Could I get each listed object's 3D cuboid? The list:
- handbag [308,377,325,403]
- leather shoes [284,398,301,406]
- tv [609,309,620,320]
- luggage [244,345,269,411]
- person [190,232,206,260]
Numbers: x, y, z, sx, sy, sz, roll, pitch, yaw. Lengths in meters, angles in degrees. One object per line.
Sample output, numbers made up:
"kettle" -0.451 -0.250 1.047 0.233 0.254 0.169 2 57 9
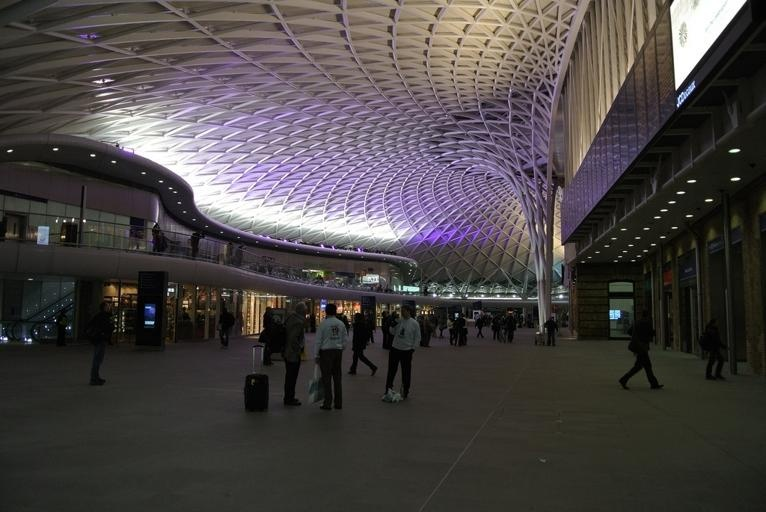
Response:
"handbag" -1.302 2.588 10.223 0.331 0.461 0.257 3 -5 -23
"leather shoes" -1.856 2.979 10.699 0.405 0.155 0.120 -1 2 -5
"tv" 16.247 3.987 36.560 0.782 0.666 0.106 -1 9 7
"luggage" -2.461 2.355 10.185 0.487 1.204 0.420 0 -12 -11
"person" -10.803 -0.702 30.183 0.482 1.607 0.999 1 -5 -1
